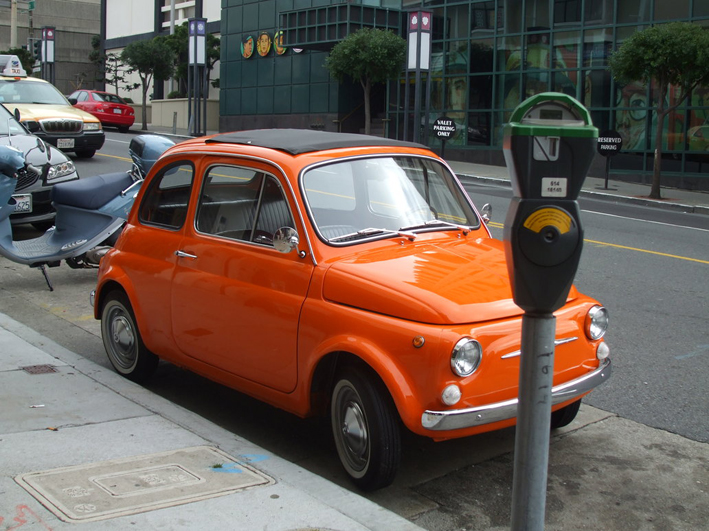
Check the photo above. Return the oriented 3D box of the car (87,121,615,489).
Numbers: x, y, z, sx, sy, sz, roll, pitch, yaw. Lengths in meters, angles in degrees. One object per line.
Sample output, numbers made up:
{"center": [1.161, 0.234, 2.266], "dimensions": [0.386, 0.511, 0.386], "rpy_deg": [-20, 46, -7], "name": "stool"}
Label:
{"center": [-0.280, 0.100, 4.298], "dimensions": [3.721, 1.838, 2.111], "rpy_deg": [10, 13, 42], "name": "car"}
